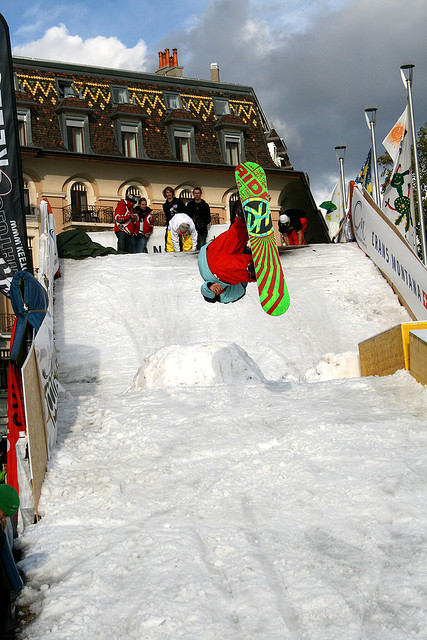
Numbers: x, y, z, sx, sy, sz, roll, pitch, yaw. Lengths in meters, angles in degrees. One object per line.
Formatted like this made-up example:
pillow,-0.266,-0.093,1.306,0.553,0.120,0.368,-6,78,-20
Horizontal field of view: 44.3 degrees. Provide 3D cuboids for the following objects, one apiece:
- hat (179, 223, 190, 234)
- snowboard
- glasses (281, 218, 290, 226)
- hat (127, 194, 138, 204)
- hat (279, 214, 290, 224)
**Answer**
hat,-0.844,-2.663,15.343,0.282,0.252,0.361,-3,11,-4
snowboard,0.618,-1.039,6.707,0.542,2.267,0.331,-6,-3,-20
glasses,2.175,-3.082,16.264,0.154,0.201,0.199,-8,30,-34
hat,-2.516,-3.724,16.249,0.302,0.259,0.390,-6,5,-9
hat,2.213,-3.146,16.346,0.253,0.326,0.325,1,3,-20
